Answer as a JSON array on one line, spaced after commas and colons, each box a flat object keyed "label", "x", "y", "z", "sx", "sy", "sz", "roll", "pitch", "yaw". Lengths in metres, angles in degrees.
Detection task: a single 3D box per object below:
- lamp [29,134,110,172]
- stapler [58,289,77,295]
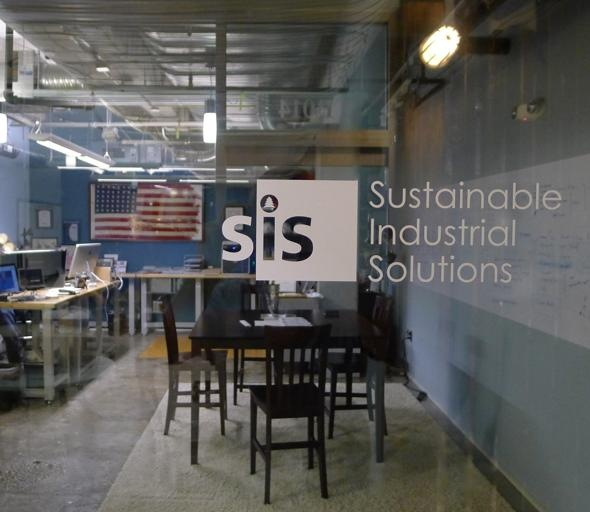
[{"label": "lamp", "x": -0.979, "y": -0.454, "z": 2.400, "sx": 0.383, "sy": 0.136, "sz": 0.068, "roll": -2, "pitch": 1, "yaw": 20}, {"label": "stapler", "x": -1.021, "y": 0.161, "z": 2.463, "sx": 0.111, "sy": 0.020, "sz": 0.022, "roll": -2, "pitch": 0, "yaw": 31}]
